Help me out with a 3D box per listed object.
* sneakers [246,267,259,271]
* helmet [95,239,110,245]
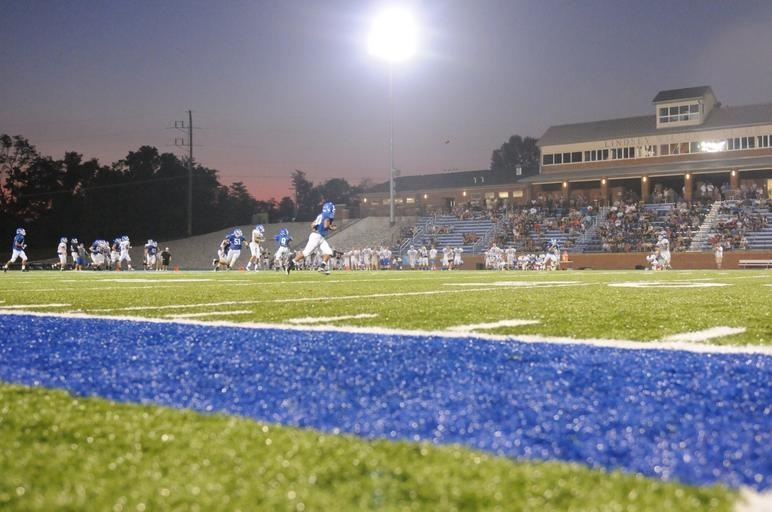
[{"bbox_3d":[-4.800,0.460,32.135,0.523,0.207,0.166,-7,-8,23],"label":"sneakers"},{"bbox_3d":[-11.086,-0.552,34.908,0.610,0.188,0.582,3,3,-4],"label":"helmet"}]
